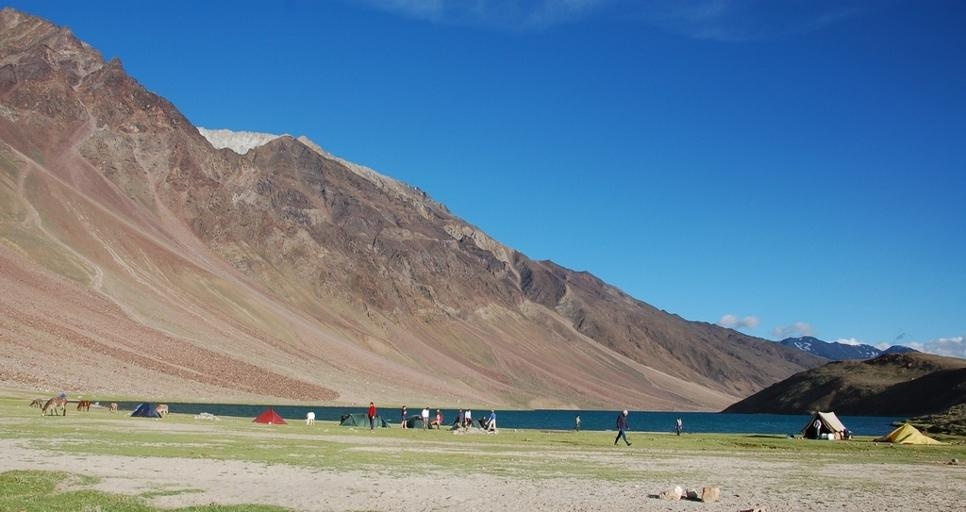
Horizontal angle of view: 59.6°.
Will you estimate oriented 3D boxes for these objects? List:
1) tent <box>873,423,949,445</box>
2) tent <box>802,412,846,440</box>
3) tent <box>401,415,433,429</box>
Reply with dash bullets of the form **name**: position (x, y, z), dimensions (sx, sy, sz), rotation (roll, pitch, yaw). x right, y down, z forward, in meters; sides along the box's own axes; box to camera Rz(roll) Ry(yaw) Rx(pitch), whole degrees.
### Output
- **tent**: position (85.213, 35.717, 168.544), dimensions (10.381, 4.413, 3.509), rotation (0, -23, 13)
- **tent**: position (71.757, 35.458, 176.947), dimensions (8.276, 6.047, 2.367), rotation (-1, -24, 17)
- **tent**: position (-13.406, 35.177, 179.037), dimensions (3.843, 2.040, 3.532), rotation (0, -4, 6)
